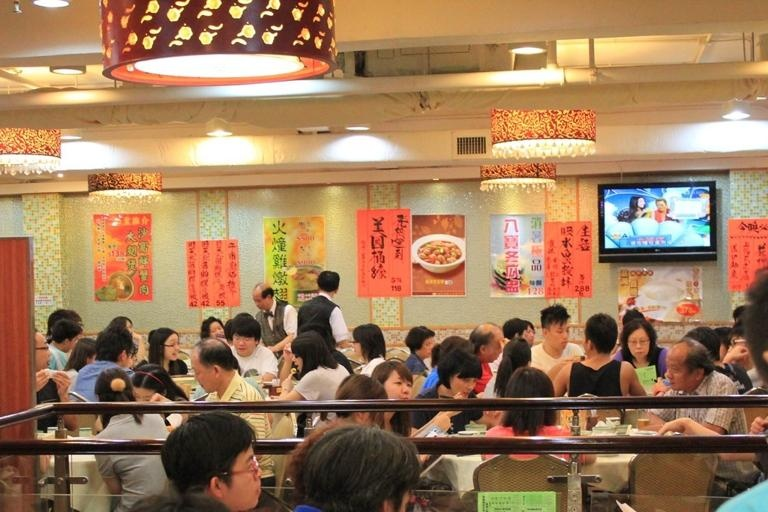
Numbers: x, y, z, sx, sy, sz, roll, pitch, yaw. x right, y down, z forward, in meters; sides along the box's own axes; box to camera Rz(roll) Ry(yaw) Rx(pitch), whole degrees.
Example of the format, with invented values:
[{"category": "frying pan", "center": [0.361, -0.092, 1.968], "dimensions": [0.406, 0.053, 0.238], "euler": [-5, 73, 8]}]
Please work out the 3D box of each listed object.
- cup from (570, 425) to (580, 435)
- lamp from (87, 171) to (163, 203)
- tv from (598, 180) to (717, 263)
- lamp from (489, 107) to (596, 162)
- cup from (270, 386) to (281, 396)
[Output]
[{"category": "cup", "center": [1.177, 1.071, 4.663], "dimensions": [0.080, 0.065, 0.074], "euler": [0, -6, 0]}, {"category": "lamp", "center": [-3.464, -0.889, 10.160], "dimensions": [0.866, 0.321, 1.239], "euler": [-1, -3, -22]}, {"category": "tv", "center": [3.772, -0.453, 10.359], "dimensions": [1.306, 0.782, 0.128], "euler": [0, -6, 7]}, {"category": "lamp", "center": [1.511, -1.254, 7.704], "dimensions": [1.114, 0.417, 1.075], "euler": [-2, 4, 27]}, {"category": "cup", "center": [-1.007, 1.273, 7.159], "dimensions": [0.100, 0.065, 0.097], "euler": [0, -5, 0]}]
